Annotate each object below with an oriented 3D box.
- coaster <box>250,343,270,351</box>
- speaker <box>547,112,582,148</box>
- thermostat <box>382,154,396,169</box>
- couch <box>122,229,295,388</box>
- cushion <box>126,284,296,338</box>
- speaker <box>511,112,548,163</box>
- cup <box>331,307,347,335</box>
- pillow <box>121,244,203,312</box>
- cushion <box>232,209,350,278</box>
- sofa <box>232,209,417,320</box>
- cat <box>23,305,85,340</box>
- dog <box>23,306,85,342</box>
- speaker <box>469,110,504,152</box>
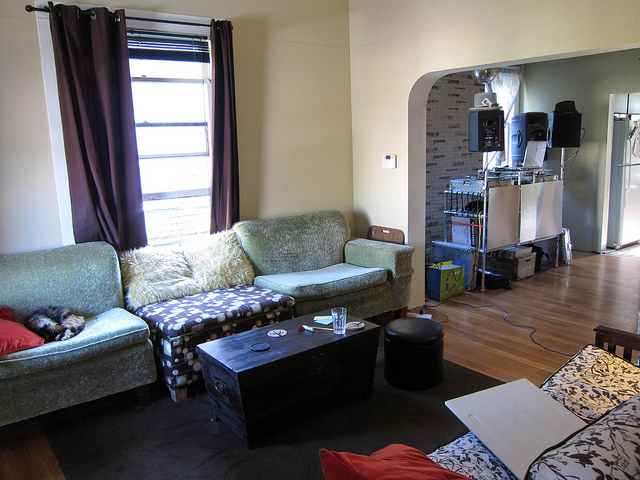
[{"bbox_3d":[-0.395,0.692,3.106,0.131,0.008,0.100,0,16,11],"label":"coaster"},{"bbox_3d":[3.210,-1.454,6.260,0.395,0.453,0.239,2,17,18],"label":"speaker"},{"bbox_3d":[0.705,-0.803,4.839,0.020,0.140,0.143,-19,24,-41],"label":"thermostat"},{"bbox_3d":[-0.945,0.508,3.966,1.188,0.871,1.257,9,16,37],"label":"couch"},{"bbox_3d":[-0.868,0.551,3.880,1.140,0.160,0.850,-10,11,-41],"label":"cushion"},{"bbox_3d":[2.555,-1.251,5.792,0.427,0.574,0.440,1,17,14],"label":"speaker"},{"bbox_3d":[0.131,0.550,3.250,0.150,0.213,0.152,0,1,0],"label":"cup"},{"bbox_3d":[-1.321,0.279,3.902,0.544,0.540,0.159,-5,-31,-39],"label":"pillow"},{"bbox_3d":[-0.271,0.078,4.812,1.395,0.707,0.453,-6,1,-37],"label":"cushion"},{"bbox_3d":[0.022,0.341,4.513,1.585,1.087,0.967,-10,10,-38],"label":"sofa"},{"bbox_3d":[-1.867,0.578,3.344,0.355,0.133,0.421,-13,19,-33],"label":"cat"},{"bbox_3d":[-1.877,0.619,3.390,0.395,0.190,0.311,0,5,13],"label":"dog"},{"bbox_3d":[1.938,-1.190,5.215,0.280,0.451,0.349,-10,11,-25],"label":"speaker"}]
